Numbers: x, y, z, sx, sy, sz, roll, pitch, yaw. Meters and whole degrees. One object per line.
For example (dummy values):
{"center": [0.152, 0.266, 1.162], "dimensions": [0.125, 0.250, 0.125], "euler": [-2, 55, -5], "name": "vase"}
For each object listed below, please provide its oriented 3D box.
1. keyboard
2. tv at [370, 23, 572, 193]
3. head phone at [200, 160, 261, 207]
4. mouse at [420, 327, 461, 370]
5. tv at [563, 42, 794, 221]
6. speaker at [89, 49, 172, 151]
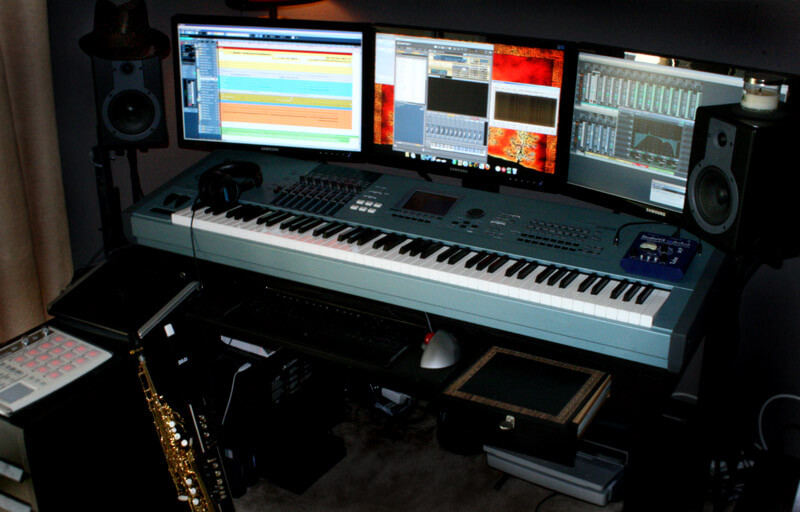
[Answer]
{"center": [-0.300, 0.278, 2.600], "dimensions": [0.781, 0.072, 0.260], "euler": [12, 27, 18], "name": "keyboard"}
{"center": [0.301, -0.626, 2.855], "dimensions": [0.809, 0.522, 0.087], "euler": [10, 25, 21], "name": "tv"}
{"center": [-0.759, -0.313, 3.004], "dimensions": [0.183, 0.106, 0.253], "euler": [34, 39, 29], "name": "head phone"}
{"center": [0.163, 0.321, 2.473], "dimensions": [0.152, 0.073, 0.212], "euler": [8, 32, 0], "name": "mouse"}
{"center": [1.000, -0.440, 2.430], "dimensions": [0.083, 0.485, 0.709], "euler": [-22, 30, -35], "name": "tv"}
{"center": [-1.305, -0.726, 3.229], "dimensions": [0.319, 0.433, 0.159], "euler": [-7, 28, -20], "name": "speaker"}
